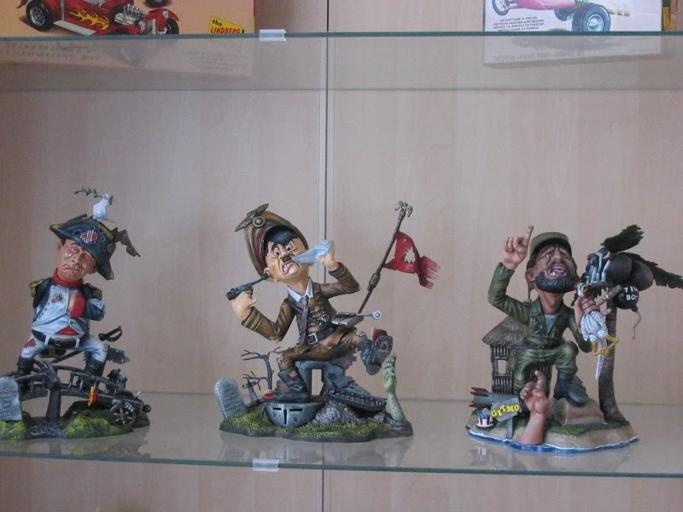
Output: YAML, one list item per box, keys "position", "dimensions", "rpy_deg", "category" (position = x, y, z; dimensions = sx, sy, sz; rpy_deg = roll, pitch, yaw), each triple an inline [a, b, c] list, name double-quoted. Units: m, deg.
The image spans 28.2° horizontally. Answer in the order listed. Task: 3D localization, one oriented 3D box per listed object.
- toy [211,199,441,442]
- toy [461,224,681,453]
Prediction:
- position: [-0.077, 0.180, 3.932]
  dimensions: [0.618, 0.692, 0.348]
  rpy_deg: [-1, 9, 10]
  category: "toy"
- position: [0.659, 0.227, 3.889]
  dimensions: [0.589, 0.630, 0.247]
  rpy_deg: [0, 2, 6]
  category: "toy"
